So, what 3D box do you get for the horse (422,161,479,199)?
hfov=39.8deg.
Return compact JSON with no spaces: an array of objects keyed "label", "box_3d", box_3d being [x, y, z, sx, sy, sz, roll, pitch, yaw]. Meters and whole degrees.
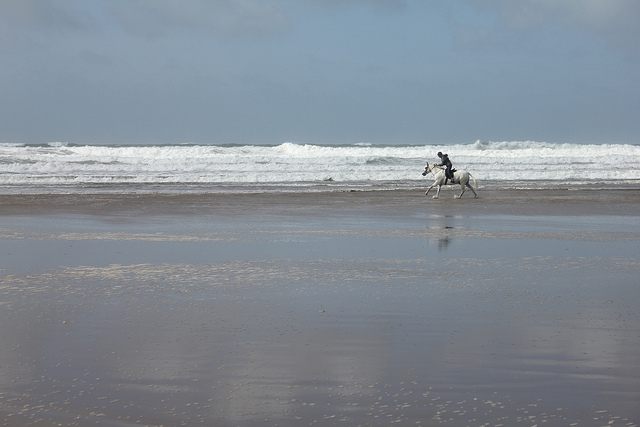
[{"label":"horse","box_3d":[5.310,-1.351,36.290,2.608,1.239,0.570,3,-1,-18]}]
